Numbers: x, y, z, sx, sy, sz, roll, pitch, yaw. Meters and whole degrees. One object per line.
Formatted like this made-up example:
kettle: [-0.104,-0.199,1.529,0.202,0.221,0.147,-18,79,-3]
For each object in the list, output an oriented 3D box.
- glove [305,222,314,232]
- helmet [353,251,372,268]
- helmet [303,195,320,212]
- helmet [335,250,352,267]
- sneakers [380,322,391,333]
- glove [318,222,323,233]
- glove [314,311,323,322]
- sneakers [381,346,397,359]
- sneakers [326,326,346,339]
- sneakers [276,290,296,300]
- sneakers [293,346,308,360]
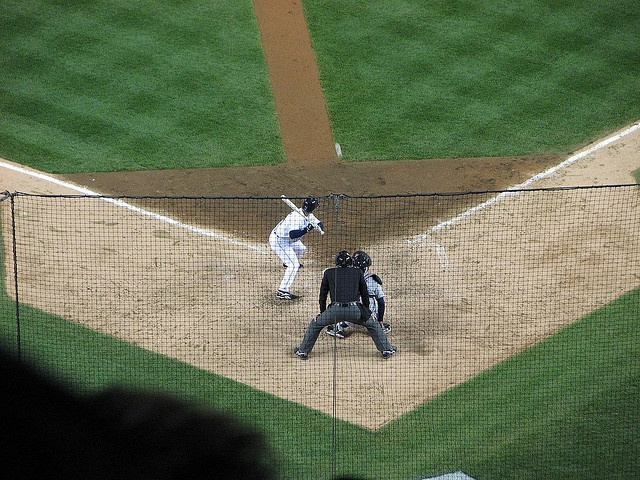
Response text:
glove: [-0.246,-0.268,24.719,0.042,0.167,0.159,-3,70,50]
helmet: [0.937,0.431,23.565,0.317,0.347,0.373,-3,82,2]
helmet: [-0.130,-0.845,24.547,0.369,0.309,0.248,-9,64,-30]
helmet: [0.555,0.420,23.106,0.339,0.415,0.384,0,80,5]
sneakers: [1.454,1.907,23.779,0.186,0.101,0.289,-2,16,5]
glove: [0.050,-0.271,25.013,0.083,0.259,0.104,-2,37,3]
glove: [0.002,1.618,23.031,0.177,0.192,0.219,3,4,-17]
sneakers: [1.515,2.411,23.403,0.404,0.178,0.143,-25,34,-34]
sneakers: [0.360,2.015,23.992,0.433,0.187,0.192,18,37,1]
sneakers: [-0.751,1.235,24.639,0.524,0.196,0.166,1,18,-3]
sneakers: [-0.376,2.431,23.381,0.347,0.156,0.166,31,50,18]
